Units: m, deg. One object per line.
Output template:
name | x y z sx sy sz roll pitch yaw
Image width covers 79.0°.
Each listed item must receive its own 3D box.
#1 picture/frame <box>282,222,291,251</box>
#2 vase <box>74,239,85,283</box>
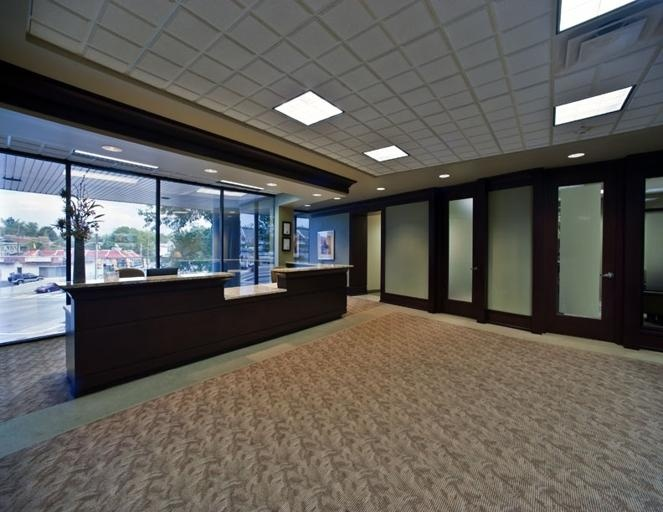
picture/frame | -1.059 -0.460 9.511 0.061 0.724 0.340 3 6 26
vase | -2.846 0.056 4.535 0.120 0.493 0.216 -3 7 -33
